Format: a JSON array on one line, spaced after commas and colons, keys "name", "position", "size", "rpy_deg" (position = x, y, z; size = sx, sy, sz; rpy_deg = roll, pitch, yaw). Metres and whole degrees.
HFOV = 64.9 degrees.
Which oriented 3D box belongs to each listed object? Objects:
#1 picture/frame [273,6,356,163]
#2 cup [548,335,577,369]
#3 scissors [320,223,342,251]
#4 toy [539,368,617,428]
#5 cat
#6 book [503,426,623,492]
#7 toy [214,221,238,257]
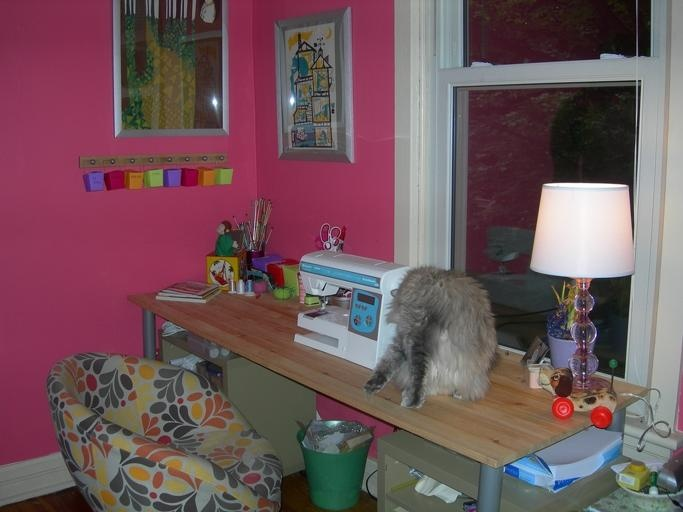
[{"name": "picture/frame", "position": [-0.134, -0.968, 2.956], "size": [0.068, 1.034, 0.795], "rpy_deg": [-12, 16, -41]}, {"name": "cup", "position": [0.836, 0.364, 2.051], "size": [0.093, 0.089, 0.100], "rpy_deg": [1, 4, 0]}, {"name": "scissors", "position": [-0.063, -0.094, 2.867], "size": [0.143, 0.157, 0.041], "rpy_deg": [-2, -7, 26]}, {"name": "toy", "position": [0.816, 0.430, 1.847], "size": [0.203, 0.067, 0.215], "rpy_deg": [1, 21, 5]}, {"name": "cat", "position": [0.321, 0.288, 1.953], "size": [0.447, 0.446, 0.298], "rpy_deg": [0, 11, 16]}, {"name": "book", "position": [0.760, 0.689, 1.813], "size": [0.221, 0.064, 0.218], "rpy_deg": [-9, 10, -32]}, {"name": "toy", "position": [-0.702, -0.093, 3.235], "size": [0.177, 0.260, 0.250], "rpy_deg": [2, 2, -20]}]
